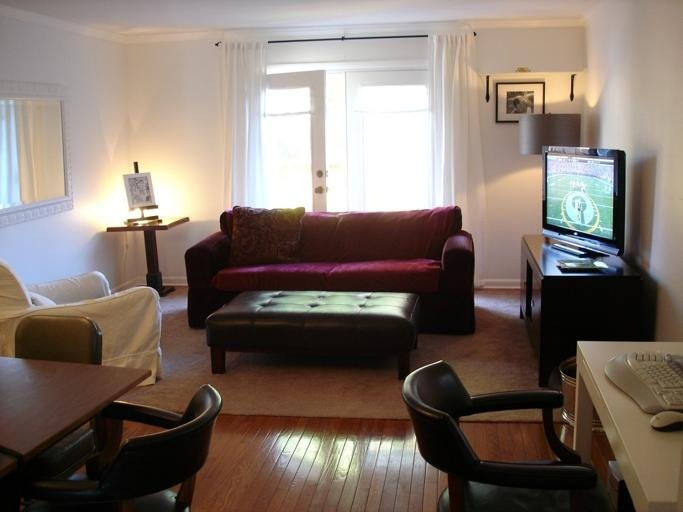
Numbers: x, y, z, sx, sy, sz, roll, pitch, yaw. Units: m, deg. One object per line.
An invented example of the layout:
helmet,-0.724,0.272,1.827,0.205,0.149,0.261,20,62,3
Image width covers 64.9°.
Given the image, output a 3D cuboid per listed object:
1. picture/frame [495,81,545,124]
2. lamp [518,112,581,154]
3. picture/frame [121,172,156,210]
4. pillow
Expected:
picture/frame,1.803,-1.551,5.388,0.541,0.467,0.021,0,5,4
lamp,1.890,-1.115,4.860,0.433,0.303,0.452,-2,12,6
picture/frame,-2.186,-0.685,5.755,0.332,0.424,0.029,-19,11,-41
pillow,-0.783,-0.327,5.237,0.696,0.205,0.708,12,-2,8
